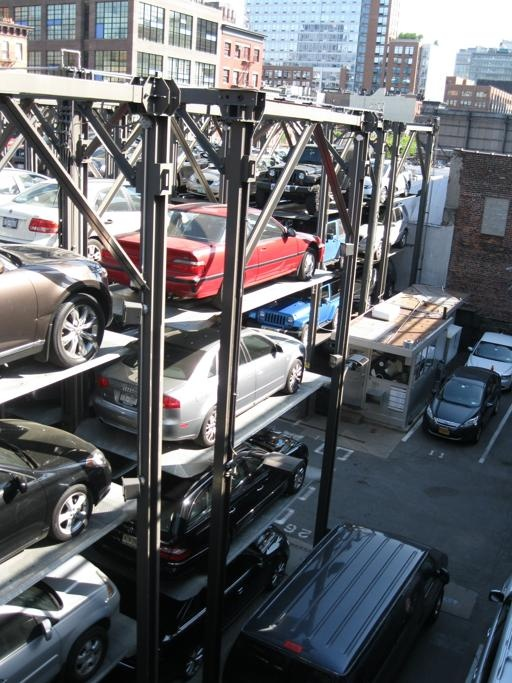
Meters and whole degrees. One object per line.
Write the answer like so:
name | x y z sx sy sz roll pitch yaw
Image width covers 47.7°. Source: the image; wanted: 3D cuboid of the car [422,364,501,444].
car | 5.881 1.524 16.158 1.586 1.234 3.331 14 30 29
